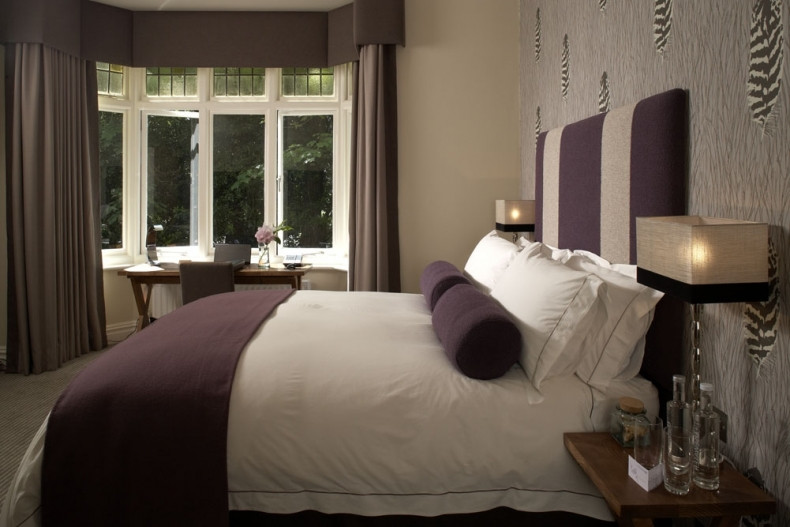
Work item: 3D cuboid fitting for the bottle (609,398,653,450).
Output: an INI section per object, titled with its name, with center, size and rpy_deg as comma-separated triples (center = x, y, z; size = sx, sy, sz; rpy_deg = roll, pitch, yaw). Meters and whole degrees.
[bottle]
center = 1.044, 0.710, 2.774
size = 0.193, 0.266, 0.189
rpy_deg = 0, -1, 0

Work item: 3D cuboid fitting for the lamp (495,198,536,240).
[lamp]
center = 0.951, -0.360, 4.867
size = 0.270, 0.307, 0.289
rpy_deg = 0, 13, -4

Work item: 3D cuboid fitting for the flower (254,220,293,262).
[flower]
center = -1.152, -0.202, 5.834
size = 0.347, 0.465, 0.352
rpy_deg = 4, 1, 7
